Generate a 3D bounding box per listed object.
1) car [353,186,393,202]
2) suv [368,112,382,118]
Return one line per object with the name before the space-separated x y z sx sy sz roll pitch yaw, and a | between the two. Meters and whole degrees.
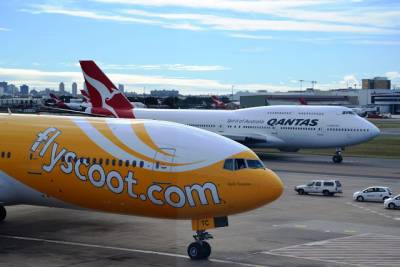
car | 14.354 5.043 40.998 3.168 1.115 2.406 -1 0 17
suv | 68.253 -6.716 193.858 4.683 1.624 6.311 1 4 11
